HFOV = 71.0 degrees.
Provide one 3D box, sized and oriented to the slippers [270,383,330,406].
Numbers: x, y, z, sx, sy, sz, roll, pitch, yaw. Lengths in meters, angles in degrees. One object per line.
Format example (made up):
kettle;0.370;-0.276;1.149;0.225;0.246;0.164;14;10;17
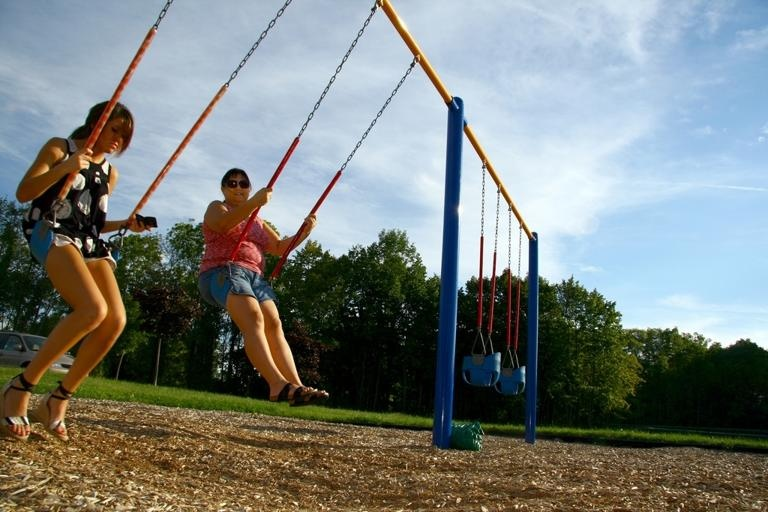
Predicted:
slippers;-0.588;0.969;3.739;0.407;0.115;0.191;-2;-5;28

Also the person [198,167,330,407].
person;-0.910;0.156;4.183;1.057;1.930;0.745;-8;-18;19

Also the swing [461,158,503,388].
swing;1.212;0.330;6.713;0.405;2.580;0.483;2;-2;13

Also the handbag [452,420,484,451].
handbag;0.875;1.931;5.733;0.327;0.280;0.493;4;-16;10
